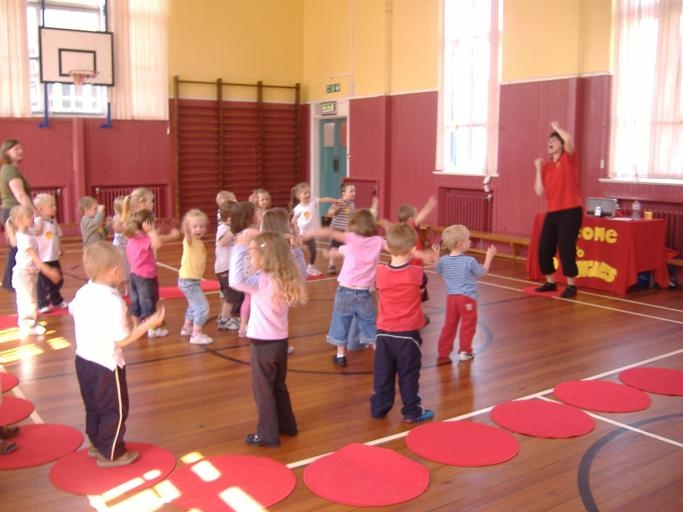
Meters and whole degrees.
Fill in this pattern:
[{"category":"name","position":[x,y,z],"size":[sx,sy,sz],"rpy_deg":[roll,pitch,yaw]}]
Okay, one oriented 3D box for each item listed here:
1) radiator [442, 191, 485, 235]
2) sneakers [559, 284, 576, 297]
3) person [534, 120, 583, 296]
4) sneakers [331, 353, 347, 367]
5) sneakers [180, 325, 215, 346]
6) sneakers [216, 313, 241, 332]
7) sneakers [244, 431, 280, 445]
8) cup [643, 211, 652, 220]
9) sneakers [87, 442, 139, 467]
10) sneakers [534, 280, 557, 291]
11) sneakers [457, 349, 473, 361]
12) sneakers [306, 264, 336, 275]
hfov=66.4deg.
[{"category":"radiator","position":[2.196,-0.746,9.208],"size":[1.001,0.199,1.148],"rpy_deg":[12,39,1]},{"category":"sneakers","position":[2.645,0.422,6.072],"size":[0.092,0.120,0.279],"rpy_deg":[-1,-2,39]},{"category":"person","position":[2.510,-0.514,6.040],"size":[0.537,1.942,0.782],"rpy_deg":[4,11,24]},{"category":"sneakers","position":[-0.021,0.821,4.134],"size":[0.126,0.076,0.124],"rpy_deg":[3,11,16]},{"category":"sneakers","position":[-1.259,0.738,4.633],"size":[0.368,0.177,0.144],"rpy_deg":[8,12,-13]},{"category":"sneakers","position":[-1.048,0.635,4.966],"size":[0.280,0.142,0.105],"rpy_deg":[-3,12,-21]},{"category":"sneakers","position":[-0.456,1.048,3.001],"size":[0.174,0.082,0.079],"rpy_deg":[10,4,12]},{"category":"cup","position":[3.747,-0.483,6.383],"size":[0.137,0.114,0.145],"rpy_deg":[0,4,0]},{"category":"sneakers","position":[-1.241,1.058,2.767],"size":[0.291,0.060,0.131],"rpy_deg":[1,11,6]},{"category":"sneakers","position":[2.463,0.375,6.291],"size":[0.224,0.117,0.127],"rpy_deg":[1,7,2]},{"category":"sneakers","position":[1.013,0.805,4.231],"size":[0.122,0.068,0.112],"rpy_deg":[1,11,5]},{"category":"sneakers","position":[-0.333,0.183,7.355],"size":[0.445,0.212,0.157],"rpy_deg":[-1,3,45]}]
